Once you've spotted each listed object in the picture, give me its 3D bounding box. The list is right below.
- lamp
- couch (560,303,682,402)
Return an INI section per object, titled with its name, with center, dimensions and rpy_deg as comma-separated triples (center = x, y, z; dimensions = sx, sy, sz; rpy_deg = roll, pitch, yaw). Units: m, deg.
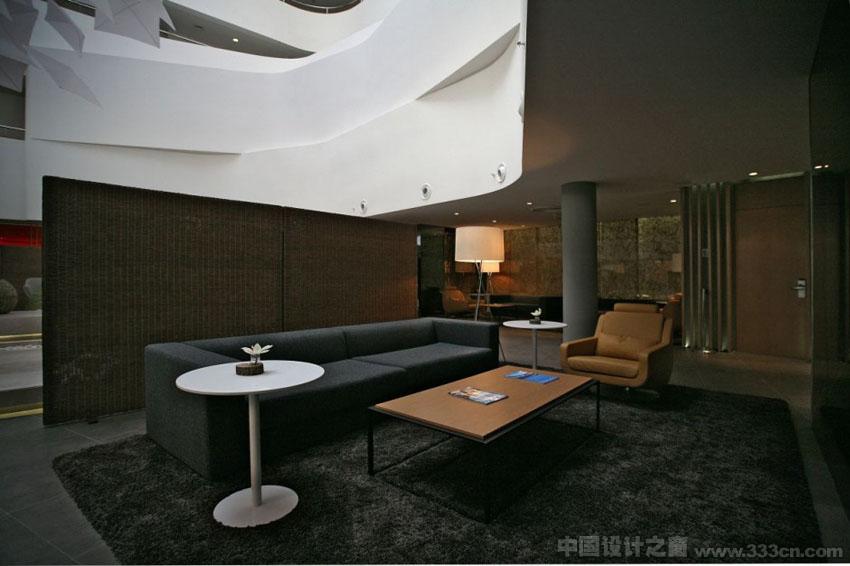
[lamp]
center = 0.918, -0.210, 9.064
dimensions = 0.859, 1.334, 0.840
rpy_deg = 1, -2, -16
[couch]
center = 2.604, 0.868, 7.146
dimensions = 1.275, 1.321, 1.297
rpy_deg = 0, -1, 41
